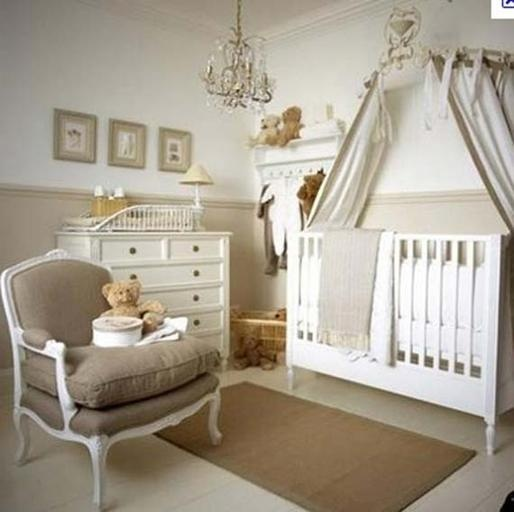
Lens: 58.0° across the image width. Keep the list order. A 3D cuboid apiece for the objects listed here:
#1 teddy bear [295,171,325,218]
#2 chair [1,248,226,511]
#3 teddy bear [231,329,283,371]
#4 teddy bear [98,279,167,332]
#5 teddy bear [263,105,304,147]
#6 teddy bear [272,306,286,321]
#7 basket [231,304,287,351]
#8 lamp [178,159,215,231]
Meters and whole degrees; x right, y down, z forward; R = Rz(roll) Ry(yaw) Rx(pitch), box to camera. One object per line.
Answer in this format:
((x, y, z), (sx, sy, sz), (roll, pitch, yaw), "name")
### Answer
((0.422, -0.505, 3.668), (0.213, 0.387, 0.200), (1, 4, 8), "teddy bear")
((-0.648, 0.463, 2.406), (0.932, 1.252, 0.882), (-2, -1, 34), "chair")
((-0.035, 0.734, 3.627), (0.392, 0.254, 0.303), (1, 4, 10), "teddy bear")
((-0.608, 0.245, 2.269), (0.309, 0.260, 0.229), (-11, -9, -3), "teddy bear")
((0.220, -1.115, 3.978), (0.327, 0.331, 0.342), (1, 4, 3), "teddy bear")
((0.179, 0.479, 3.787), (0.083, 0.086, 0.073), (4, -10, -16), "teddy bear")
((0.018, 0.574, 3.791), (0.388, 0.292, 0.312), (-1, -1, 15), "basket")
((-0.504, -0.509, 3.812), (0.271, 0.595, 0.667), (0, 4, -10), "lamp")
